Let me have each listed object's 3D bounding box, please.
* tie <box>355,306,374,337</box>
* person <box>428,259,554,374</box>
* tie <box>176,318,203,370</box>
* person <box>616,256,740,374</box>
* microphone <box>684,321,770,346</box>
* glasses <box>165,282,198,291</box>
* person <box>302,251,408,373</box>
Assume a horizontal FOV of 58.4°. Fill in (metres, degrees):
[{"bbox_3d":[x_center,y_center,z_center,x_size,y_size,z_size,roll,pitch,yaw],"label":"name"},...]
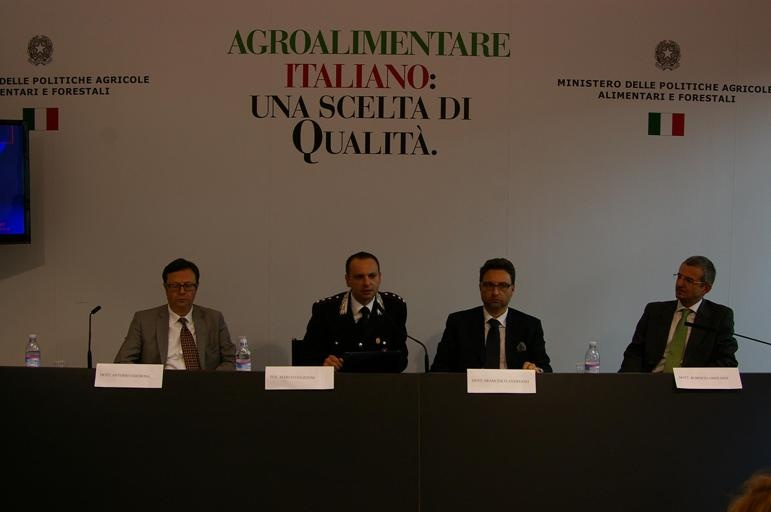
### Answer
[{"bbox_3d":[-0.149,0.472,4.915,0.099,0.214,0.093,-1,-11,16],"label":"tie"},{"bbox_3d":[0.723,0.642,4.807,0.816,1.274,0.629,2,-14,14],"label":"person"},{"bbox_3d":[-1.358,0.609,4.747,0.097,0.024,0.495,0,-51,1],"label":"tie"},{"bbox_3d":[2.036,0.549,4.782,0.685,1.161,0.627,9,-8,32],"label":"person"},{"bbox_3d":[2.428,0.556,4.938,0.787,0.087,0.065,16,-44,-15],"label":"microphone"},{"bbox_3d":[-1.410,0.211,4.770,0.201,0.050,0.084,3,0,-19],"label":"glasses"},{"bbox_3d":[-0.188,0.358,4.592,0.706,1.273,0.774,0,-12,-2],"label":"person"}]
